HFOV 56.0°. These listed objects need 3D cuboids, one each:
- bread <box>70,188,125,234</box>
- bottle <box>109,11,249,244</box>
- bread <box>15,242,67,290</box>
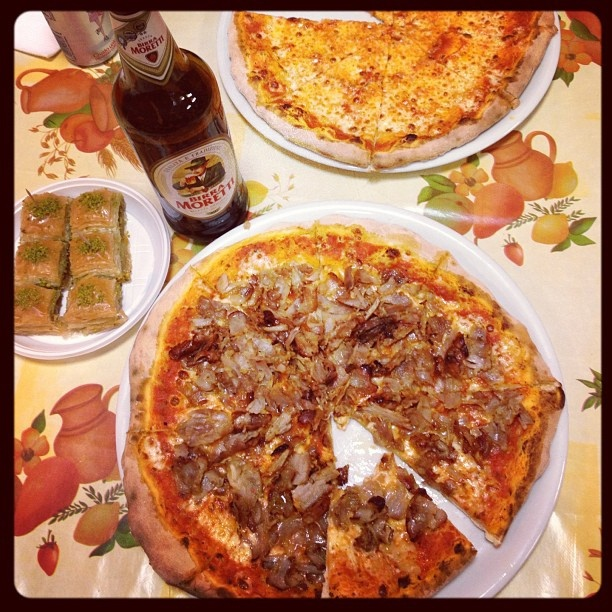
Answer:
[{"bbox_3d":[-0.945,-0.439,2.621,0.191,0.088,0.242,-1,55,-2],"label":"bread"},{"bbox_3d":[-0.483,-0.626,2.191,0.418,1.063,0.426,-1,76,4],"label":"bottle"},{"bbox_3d":[-1.193,-0.196,2.614,0.207,0.109,0.218,0,77,3],"label":"bread"}]
